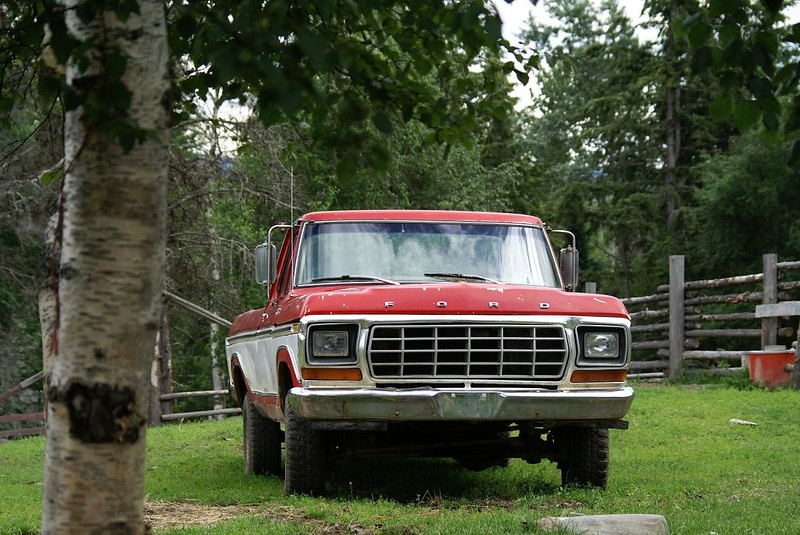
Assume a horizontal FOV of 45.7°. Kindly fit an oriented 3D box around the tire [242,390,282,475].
[{"bbox_3d":[-1.569,1.907,10.895,0.386,1.139,1.108,-1,2,-4],"label":"tire"}]

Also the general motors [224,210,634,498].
[{"bbox_3d":[0.023,0.953,11.850,3.490,2.985,6.329,1,-5,-13],"label":"general motors"}]

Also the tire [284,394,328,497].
[{"bbox_3d":[-0.872,1.789,9.430,0.483,0.881,0.564,0,-1,-3],"label":"tire"}]
